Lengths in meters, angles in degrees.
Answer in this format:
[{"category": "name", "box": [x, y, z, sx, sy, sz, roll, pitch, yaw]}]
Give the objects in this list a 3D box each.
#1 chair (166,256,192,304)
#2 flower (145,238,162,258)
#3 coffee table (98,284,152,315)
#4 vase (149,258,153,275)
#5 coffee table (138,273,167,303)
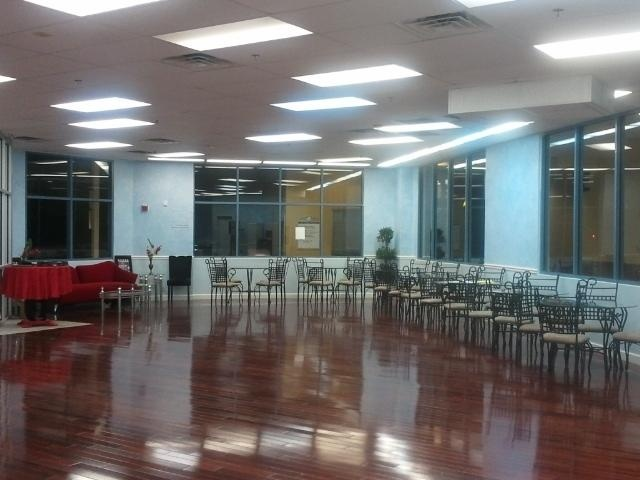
[{"category": "chair", "box": [-3.649, 0.997, 14.460, 0.627, 1.119, 0.942, 0, 3, -15]}, {"category": "flower", "box": [-4.384, 0.220, 14.636, 0.401, 0.467, 0.432, 0, 3, -16]}, {"category": "coffee table", "box": [-4.364, 1.265, 12.416, 0.906, 0.571, 0.853, 0, 1, 42]}, {"category": "vase", "box": [-4.419, 0.683, 14.503, 0.144, 0.431, 0.545, -1, 3, -18]}, {"category": "coffee table", "box": [-4.274, 1.214, 14.175, 0.764, 1.008, 0.884, 0, -5, -5]}]
